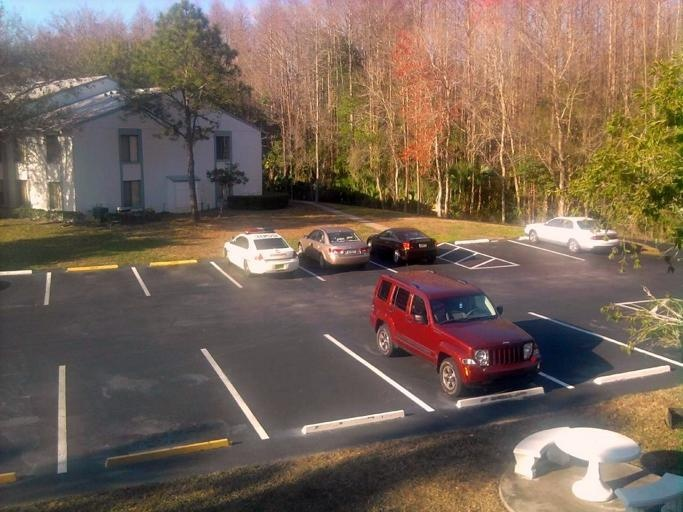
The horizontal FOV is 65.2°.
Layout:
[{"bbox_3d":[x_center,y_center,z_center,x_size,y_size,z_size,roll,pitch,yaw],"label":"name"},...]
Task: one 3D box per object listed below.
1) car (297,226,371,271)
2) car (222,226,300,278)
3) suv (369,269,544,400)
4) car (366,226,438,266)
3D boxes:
[{"bbox_3d":[-0.457,-0.376,24.749,1.654,1.783,3.558,-7,11,-36],"label":"car"},{"bbox_3d":[-3.509,-0.094,22.912,3.258,1.672,1.563,8,12,44],"label":"car"},{"bbox_3d":[2.558,2.020,14.258,2.144,2.234,4.768,-6,11,-25],"label":"suv"},{"bbox_3d":[2.904,-0.499,26.023,1.682,1.607,3.171,-8,11,-41],"label":"car"}]
